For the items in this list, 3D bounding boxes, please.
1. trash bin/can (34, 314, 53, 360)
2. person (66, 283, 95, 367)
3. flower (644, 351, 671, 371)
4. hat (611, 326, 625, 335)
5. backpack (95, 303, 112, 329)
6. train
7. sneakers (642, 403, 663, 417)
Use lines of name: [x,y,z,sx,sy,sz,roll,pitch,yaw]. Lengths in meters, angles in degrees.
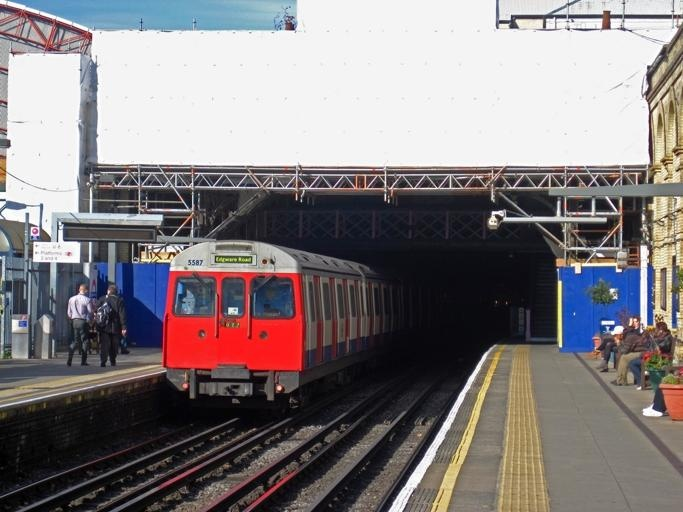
trash bin/can: [-8.003,2.136,22.337,0.400,1.264,0.693,3,4,-10]
person: [-6.476,1.703,20.426,0.619,2.029,1.554,6,0,-17]
flower: [6.667,2.201,17.465,0.386,0.320,0.437,0,1,34]
hat: [8.264,2.212,24.561,0.449,0.130,0.480,-3,6,5]
backpack: [-5.764,1.442,20.029,0.382,0.524,0.551,7,-12,-8]
train: [0.605,1.923,25.807,3.038,3.535,18.983,7,-1,19]
sneakers: [5.924,2.930,15.706,0.260,0.134,0.175,2,1,17]
